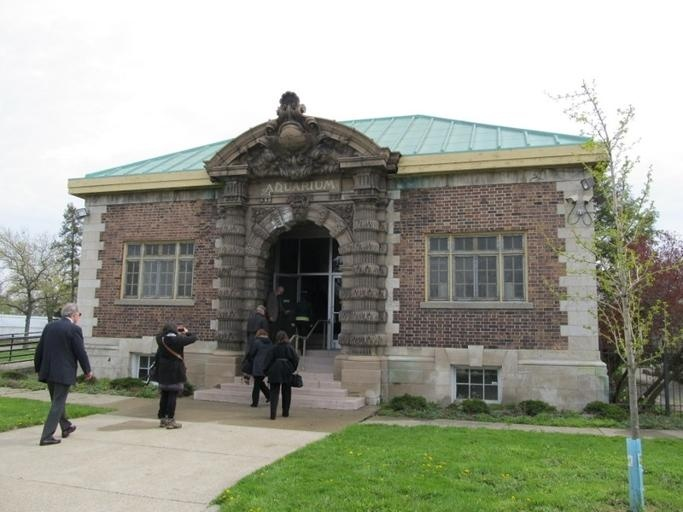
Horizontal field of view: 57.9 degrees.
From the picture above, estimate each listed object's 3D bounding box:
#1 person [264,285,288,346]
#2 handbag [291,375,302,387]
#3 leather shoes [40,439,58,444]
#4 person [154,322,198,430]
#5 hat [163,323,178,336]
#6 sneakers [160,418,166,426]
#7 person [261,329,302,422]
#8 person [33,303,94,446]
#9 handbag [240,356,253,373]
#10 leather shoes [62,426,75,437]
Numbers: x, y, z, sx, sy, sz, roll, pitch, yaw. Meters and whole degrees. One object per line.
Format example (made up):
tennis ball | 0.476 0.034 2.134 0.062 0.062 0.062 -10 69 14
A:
person | -1.948 1.738 18.009 0.715 0.703 1.976 1 -51 -4
handbag | -1.082 2.963 14.629 0.339 0.322 0.151 -2 -6 1
leather shoes | -5.453 3.475 11.547 0.315 0.126 0.112 0 -1 -17
person | -3.699 2.586 13.492 0.750 2.226 0.976 3 -10 -14
hat | -3.746 1.617 13.528 0.216 0.257 0.280 2 -17 -11
sneakers | -3.786 3.560 13.138 0.161 0.148 0.101 -1 -4 8
person | -1.451 2.811 14.659 0.722 2.028 0.549 6 -11 -30
person | -5.394 2.225 11.901 0.954 2.692 1.009 5 -10 -26
handbag | -2.368 2.771 15.592 0.232 0.437 0.394 3 -10 -17
leather shoes | -5.401 3.476 12.248 0.093 0.119 0.274 1 11 11
